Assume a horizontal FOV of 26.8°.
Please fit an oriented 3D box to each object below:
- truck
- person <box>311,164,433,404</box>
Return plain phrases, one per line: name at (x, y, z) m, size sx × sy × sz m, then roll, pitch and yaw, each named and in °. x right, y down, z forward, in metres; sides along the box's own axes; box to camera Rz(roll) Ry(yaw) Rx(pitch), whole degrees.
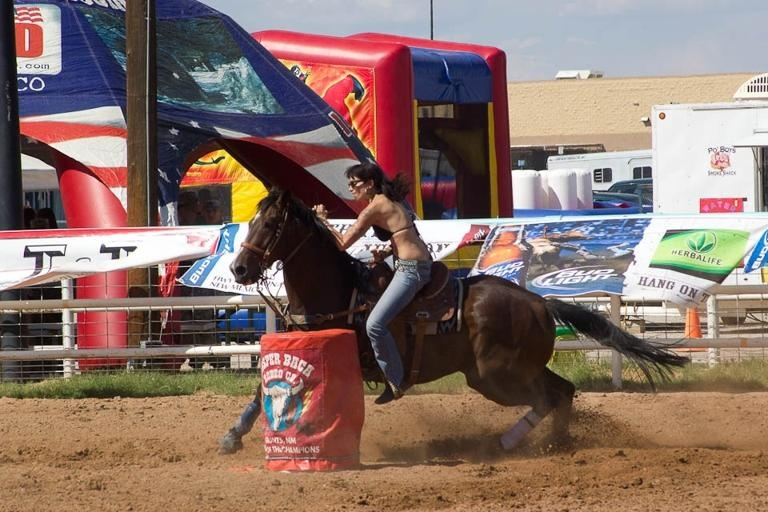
truck at (5.886, -2.275, 45.093) m, size 3.274 × 1.583 × 1.183 m, roll -1°, pitch 6°, yaw 12°
person at (0.043, 0.404, 22.662) m, size 1.312 × 3.368 × 0.542 m, roll -3°, pitch 6°, yaw 1°
